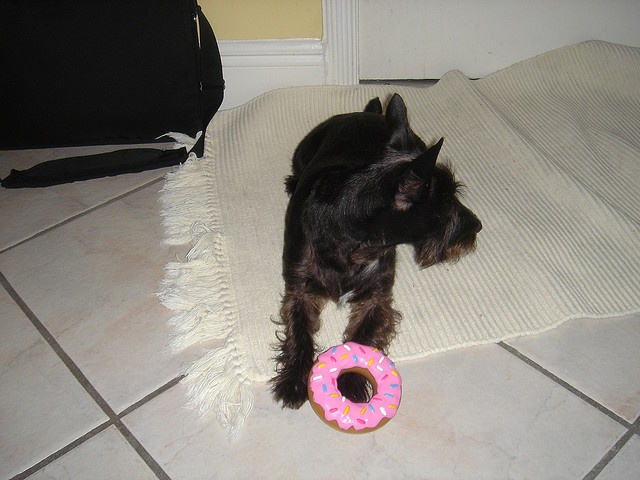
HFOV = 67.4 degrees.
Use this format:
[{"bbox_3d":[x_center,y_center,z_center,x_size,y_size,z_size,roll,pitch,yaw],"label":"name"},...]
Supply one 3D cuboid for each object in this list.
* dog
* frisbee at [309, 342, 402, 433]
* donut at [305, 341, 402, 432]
[{"bbox_3d":[0.157,-0.171,1.813,0.437,0.854,1.441,5,40,-13],"label":"dog"},{"bbox_3d":[0.123,0.457,1.577,0.289,0.319,0.113,-23,9,12],"label":"frisbee"},{"bbox_3d":[0.121,0.482,1.583,0.300,0.125,0.326,14,47,13],"label":"donut"}]
